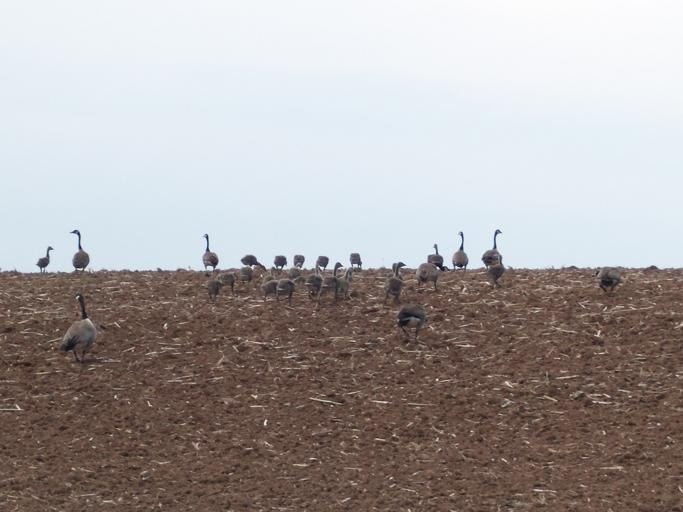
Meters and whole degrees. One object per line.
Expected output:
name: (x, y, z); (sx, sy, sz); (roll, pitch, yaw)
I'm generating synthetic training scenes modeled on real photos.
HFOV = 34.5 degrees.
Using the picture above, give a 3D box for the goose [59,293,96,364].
goose: (-7.565, 2.095, 31.514); (1.000, 1.930, 1.138); (6, -1, 40)

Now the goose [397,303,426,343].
goose: (2.045, 1.959, 32.712); (0.794, 0.995, 1.176); (5, -1, 3)

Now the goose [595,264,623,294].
goose: (8.546, 0.809, 34.535); (0.602, 1.055, 1.953); (0, -6, 6)

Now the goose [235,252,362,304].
goose: (-1.670, 0.919, 37.146); (4.593, 2.186, 1.261); (-2, -1, -5)
